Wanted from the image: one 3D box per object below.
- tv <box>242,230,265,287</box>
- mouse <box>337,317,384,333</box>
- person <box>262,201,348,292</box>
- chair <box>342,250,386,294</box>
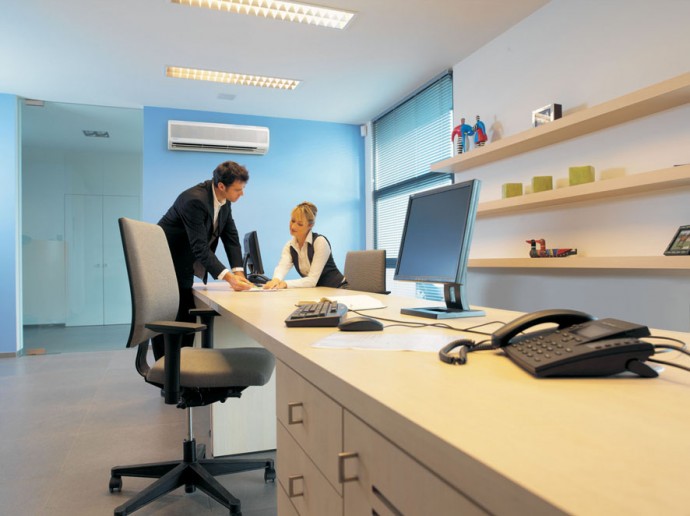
[{"bbox_3d":[-0.859,-0.016,4.676,0.234,0.468,0.547,-7,4,-18],"label":"tv"},{"bbox_3d":[0.048,0.206,1.585,0.103,0.031,0.057,-2,0,0],"label":"mouse"},{"bbox_3d":[-0.281,-0.083,3.720,0.394,0.606,0.765,4,1,33],"label":"person"},{"bbox_3d":[0.132,0.084,3.710,0.298,0.435,0.339,-1,1,-42],"label":"chair"}]
